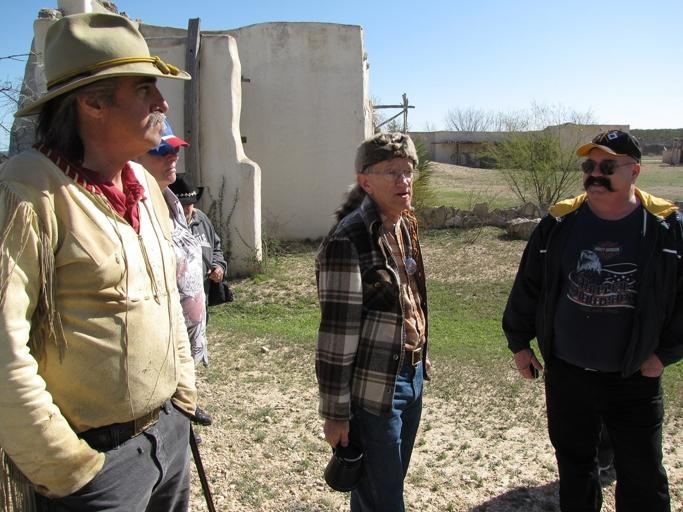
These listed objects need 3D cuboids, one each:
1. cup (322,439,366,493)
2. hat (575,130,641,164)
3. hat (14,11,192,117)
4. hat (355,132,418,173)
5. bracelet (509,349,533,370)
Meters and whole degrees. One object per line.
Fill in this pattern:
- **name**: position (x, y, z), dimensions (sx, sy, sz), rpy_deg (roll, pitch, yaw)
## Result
- **cup**: position (0.004, 1.118, 3.560), dimensions (0.214, 0.249, 0.254), rpy_deg (9, 35, -23)
- **hat**: position (1.647, -0.672, 3.977), dimensions (0.320, 0.178, 0.239), rpy_deg (22, 4, -4)
- **hat**: position (-1.036, -0.861, 2.853), dimensions (0.530, 0.273, 0.471), rpy_deg (-21, 12, -14)
- **hat**: position (0.238, -0.581, 3.646), dimensions (0.241, 0.149, 0.256), rpy_deg (-12, 1, -17)
- **bracelet**: position (1.169, 0.664, 4.153), dimensions (0.090, 0.158, 0.074), rpy_deg (-32, -3, 25)
